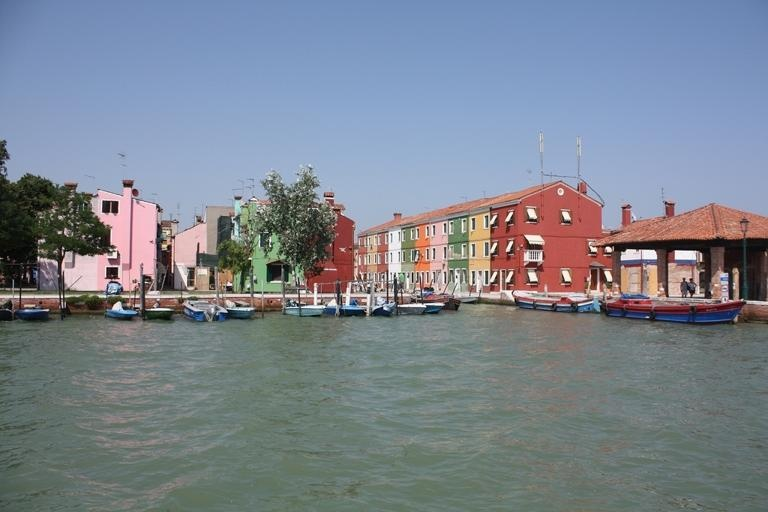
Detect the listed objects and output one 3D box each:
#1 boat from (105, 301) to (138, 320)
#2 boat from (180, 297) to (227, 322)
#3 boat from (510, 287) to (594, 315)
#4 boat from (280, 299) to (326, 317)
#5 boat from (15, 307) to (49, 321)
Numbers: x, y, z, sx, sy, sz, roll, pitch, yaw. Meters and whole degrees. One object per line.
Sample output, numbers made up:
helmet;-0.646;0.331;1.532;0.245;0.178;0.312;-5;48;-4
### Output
boat;-21.238;4.534;73.557;2.151;1.185;3.215;-4;7;-24
boat;-14.521;4.459;73.267;2.491;1.180;4.275;-4;7;-28
boat;15.258;4.123;80.450;3.733;1.784;9.081;-3;7;-22
boat;-6.690;4.436;76.484;2.941;1.157;3.261;-3;7;-20
boat;-27.957;4.545;71.662;1.915;0.936;3.210;-7;9;-41
